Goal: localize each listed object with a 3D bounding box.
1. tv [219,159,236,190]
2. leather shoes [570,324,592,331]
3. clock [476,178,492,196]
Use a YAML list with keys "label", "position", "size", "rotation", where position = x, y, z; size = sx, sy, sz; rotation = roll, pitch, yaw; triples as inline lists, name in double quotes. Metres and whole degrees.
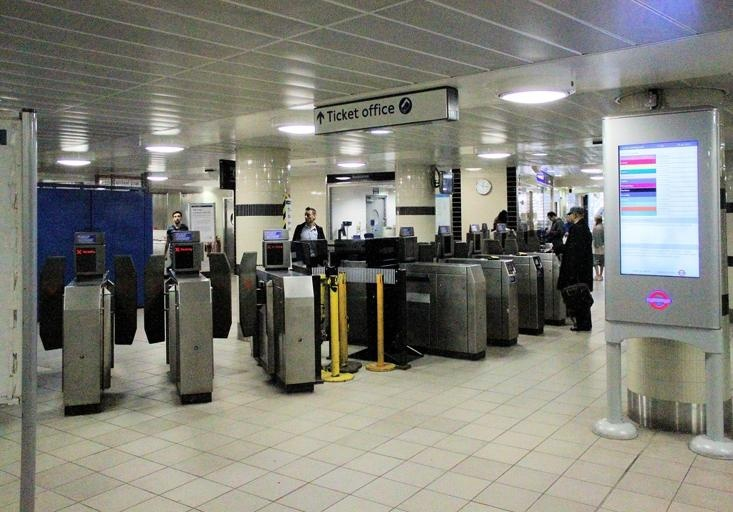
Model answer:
- label: "tv"
  position: [-3.062, -1.801, 12.647]
  size: [0.353, 0.613, 0.288]
  rotation: [-8, 11, -36]
- label: "leather shoes"
  position: [3.833, 1.283, 10.379]
  size: [0.408, 0.161, 0.131]
  rotation: [3, -3, 15]
- label: "clock"
  position: [3.753, -2.215, 18.436]
  size: [0.532, 0.483, 0.123]
  rotation: [21, 12, 31]
